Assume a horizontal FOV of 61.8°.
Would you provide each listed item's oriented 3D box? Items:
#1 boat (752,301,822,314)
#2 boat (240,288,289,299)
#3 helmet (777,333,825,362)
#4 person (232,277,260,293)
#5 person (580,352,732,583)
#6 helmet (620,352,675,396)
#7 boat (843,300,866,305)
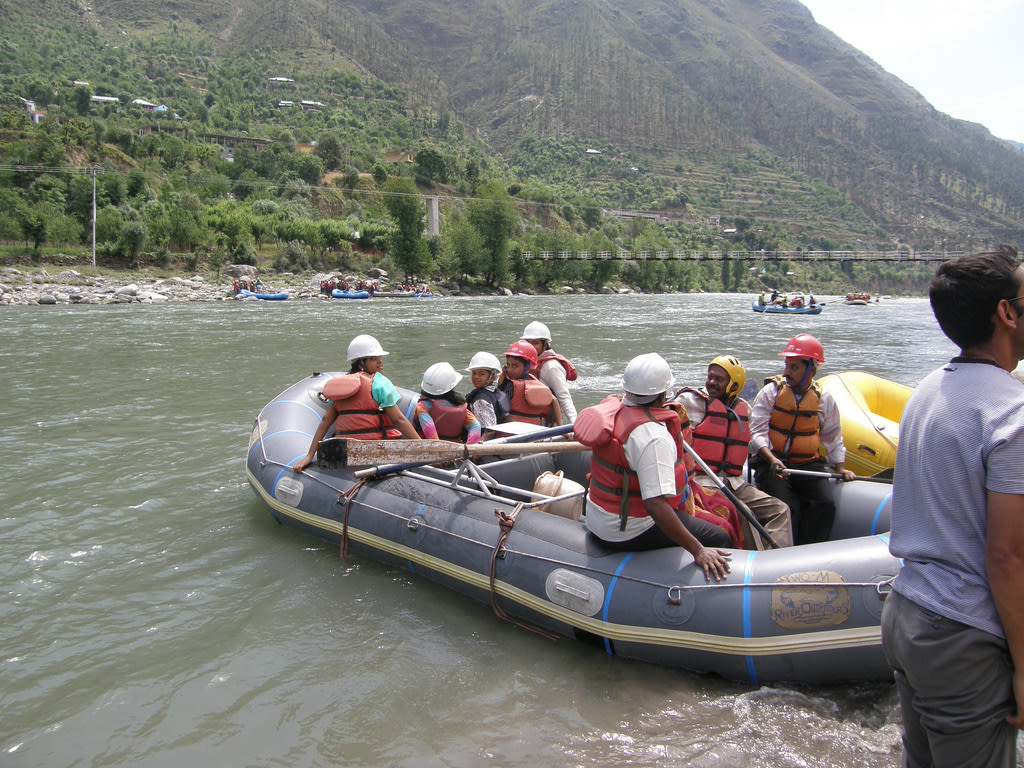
[{"bbox_3d":[16.430,-4.867,52.263,4.549,0.679,1.354,1,1,31],"label":"boat"},{"bbox_3d":[-14.359,-5.091,49.067,2.737,0.520,3.466,-2,8,-19],"label":"boat"},{"bbox_3d":[2.357,-0.282,6.906,0.396,0.186,0.276,7,0,-11],"label":"helmet"},{"bbox_3d":[-16.154,-6.015,51.847,1.460,0.337,2.224,2,16,-9],"label":"person"},{"bbox_3d":[0.918,0.532,5.571,1.019,1.466,0.870,2,9,3],"label":"person"},{"bbox_3d":[0.857,-0.061,5.438,0.297,0.256,0.282,2,9,6],"label":"helmet"},{"bbox_3d":[27.209,-6.450,67.523,1.394,0.421,1.230,3,8,13],"label":"boat"}]
